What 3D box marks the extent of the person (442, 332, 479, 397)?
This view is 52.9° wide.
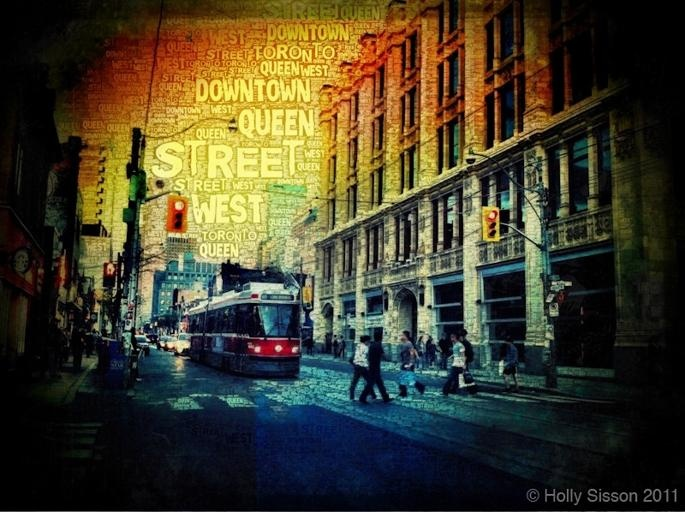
[{"bbox_3d":[3.737,3.396,22.000,0.986,1.743,0.858,-7,3,-12],"label":"person"}]
